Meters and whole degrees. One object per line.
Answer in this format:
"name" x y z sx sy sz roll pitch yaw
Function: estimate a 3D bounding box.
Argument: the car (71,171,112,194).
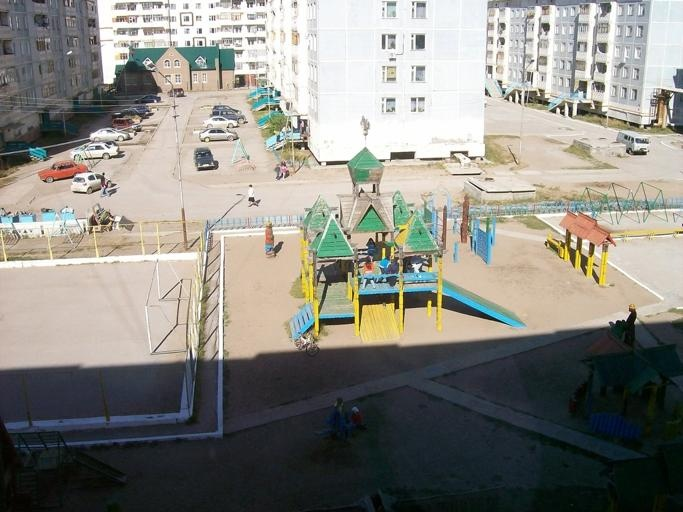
"car" -19.367 -5.748 48.135 1.614 1.253 2.744 12 25 29

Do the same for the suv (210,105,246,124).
"suv" -13.975 -17.179 76.227 4.411 2.272 3.161 -3 35 -7

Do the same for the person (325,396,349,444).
"person" -0.055 5.712 21.621 0.751 1.388 0.653 -2 19 -1

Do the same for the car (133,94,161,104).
"car" -28.244 -23.029 90.722 4.110 1.488 1.913 0 18 -8

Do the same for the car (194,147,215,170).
"car" -12.160 -8.625 54.783 1.326 1.199 2.704 -7 32 -15

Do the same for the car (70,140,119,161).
"car" -23.189 -10.060 58.227 4.022 1.347 1.836 -3 32 -11

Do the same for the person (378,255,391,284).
"person" 2.120 0.507 29.034 0.595 1.055 1.802 0 20 5

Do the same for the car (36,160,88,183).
"car" -23.280 -7.329 51.636 3.621 1.327 2.114 -16 35 -21

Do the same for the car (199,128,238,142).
"car" -12.897 -12.967 64.906 3.591 1.218 1.626 -4 26 -8

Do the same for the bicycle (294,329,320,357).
"bicycle" -1.447 3.885 27.367 0.731 0.690 1.174 -20 27 -41

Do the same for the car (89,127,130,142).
"car" -24.515 -12.662 65.457 3.888 1.379 1.859 -7 28 -16

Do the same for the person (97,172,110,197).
"person" -18.423 -5.627 47.847 0.649 1.345 2.565 -9 21 -19

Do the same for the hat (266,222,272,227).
"hat" -4.115 -1.853 35.452 0.267 0.321 0.282 7 21 12

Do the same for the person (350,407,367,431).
"person" 0.667 5.949 22.224 0.415 0.960 0.346 18 32 26
